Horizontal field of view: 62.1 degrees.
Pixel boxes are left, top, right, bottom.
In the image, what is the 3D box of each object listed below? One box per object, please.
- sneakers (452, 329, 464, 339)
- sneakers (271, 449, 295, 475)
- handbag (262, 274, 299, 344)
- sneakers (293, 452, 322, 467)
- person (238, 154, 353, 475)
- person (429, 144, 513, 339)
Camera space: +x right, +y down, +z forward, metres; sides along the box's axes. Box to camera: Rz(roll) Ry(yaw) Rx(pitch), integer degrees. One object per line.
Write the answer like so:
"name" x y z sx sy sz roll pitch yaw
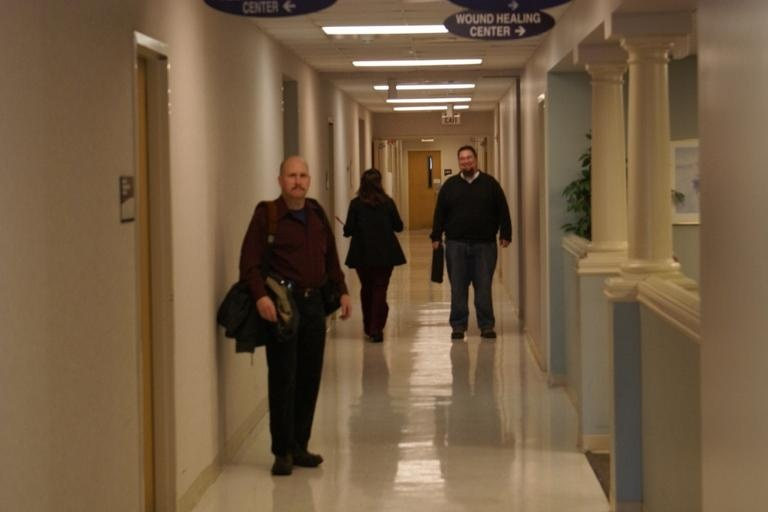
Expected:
"sneakers" 0.938 0.984 8.120 0.122 0.118 0.098 -3 6 -13
"sneakers" -0.723 1.504 4.679 0.168 0.178 0.108 1 -3 2
"handbag" -0.673 0.346 4.292 0.112 0.373 0.276 -6 0 9
"sneakers" -0.560 1.500 4.750 0.236 0.109 0.089 0 9 -10
"person" -0.620 0.438 4.551 0.440 2.258 0.747 3 7 39
"person" 1.074 -0.146 7.933 0.947 2.420 0.563 -1 5 4
